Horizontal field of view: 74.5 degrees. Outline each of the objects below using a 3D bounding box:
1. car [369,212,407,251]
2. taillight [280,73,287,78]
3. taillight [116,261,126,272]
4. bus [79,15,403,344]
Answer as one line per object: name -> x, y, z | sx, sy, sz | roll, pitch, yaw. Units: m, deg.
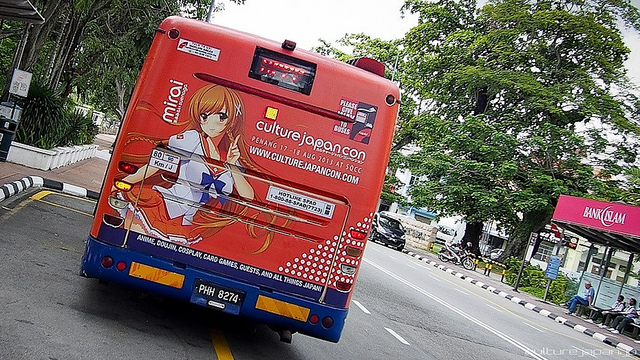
car -> 5.252, 4.243, 37.395 | 3.176, 2.537, 5.344 | 14, -6, -14
taillight -> -0.632, -1.751, 7.058 | 0.096, 0.083, 0.022 | 1, 2, -10
taillight -> -3.285, 1.416, 6.923 | 0.141, 0.141, 0.029 | 2, 0, 8
bus -> -1.888, -0.047, 10.088 | 3.889, 4.142, 6.634 | 21, -3, -11
